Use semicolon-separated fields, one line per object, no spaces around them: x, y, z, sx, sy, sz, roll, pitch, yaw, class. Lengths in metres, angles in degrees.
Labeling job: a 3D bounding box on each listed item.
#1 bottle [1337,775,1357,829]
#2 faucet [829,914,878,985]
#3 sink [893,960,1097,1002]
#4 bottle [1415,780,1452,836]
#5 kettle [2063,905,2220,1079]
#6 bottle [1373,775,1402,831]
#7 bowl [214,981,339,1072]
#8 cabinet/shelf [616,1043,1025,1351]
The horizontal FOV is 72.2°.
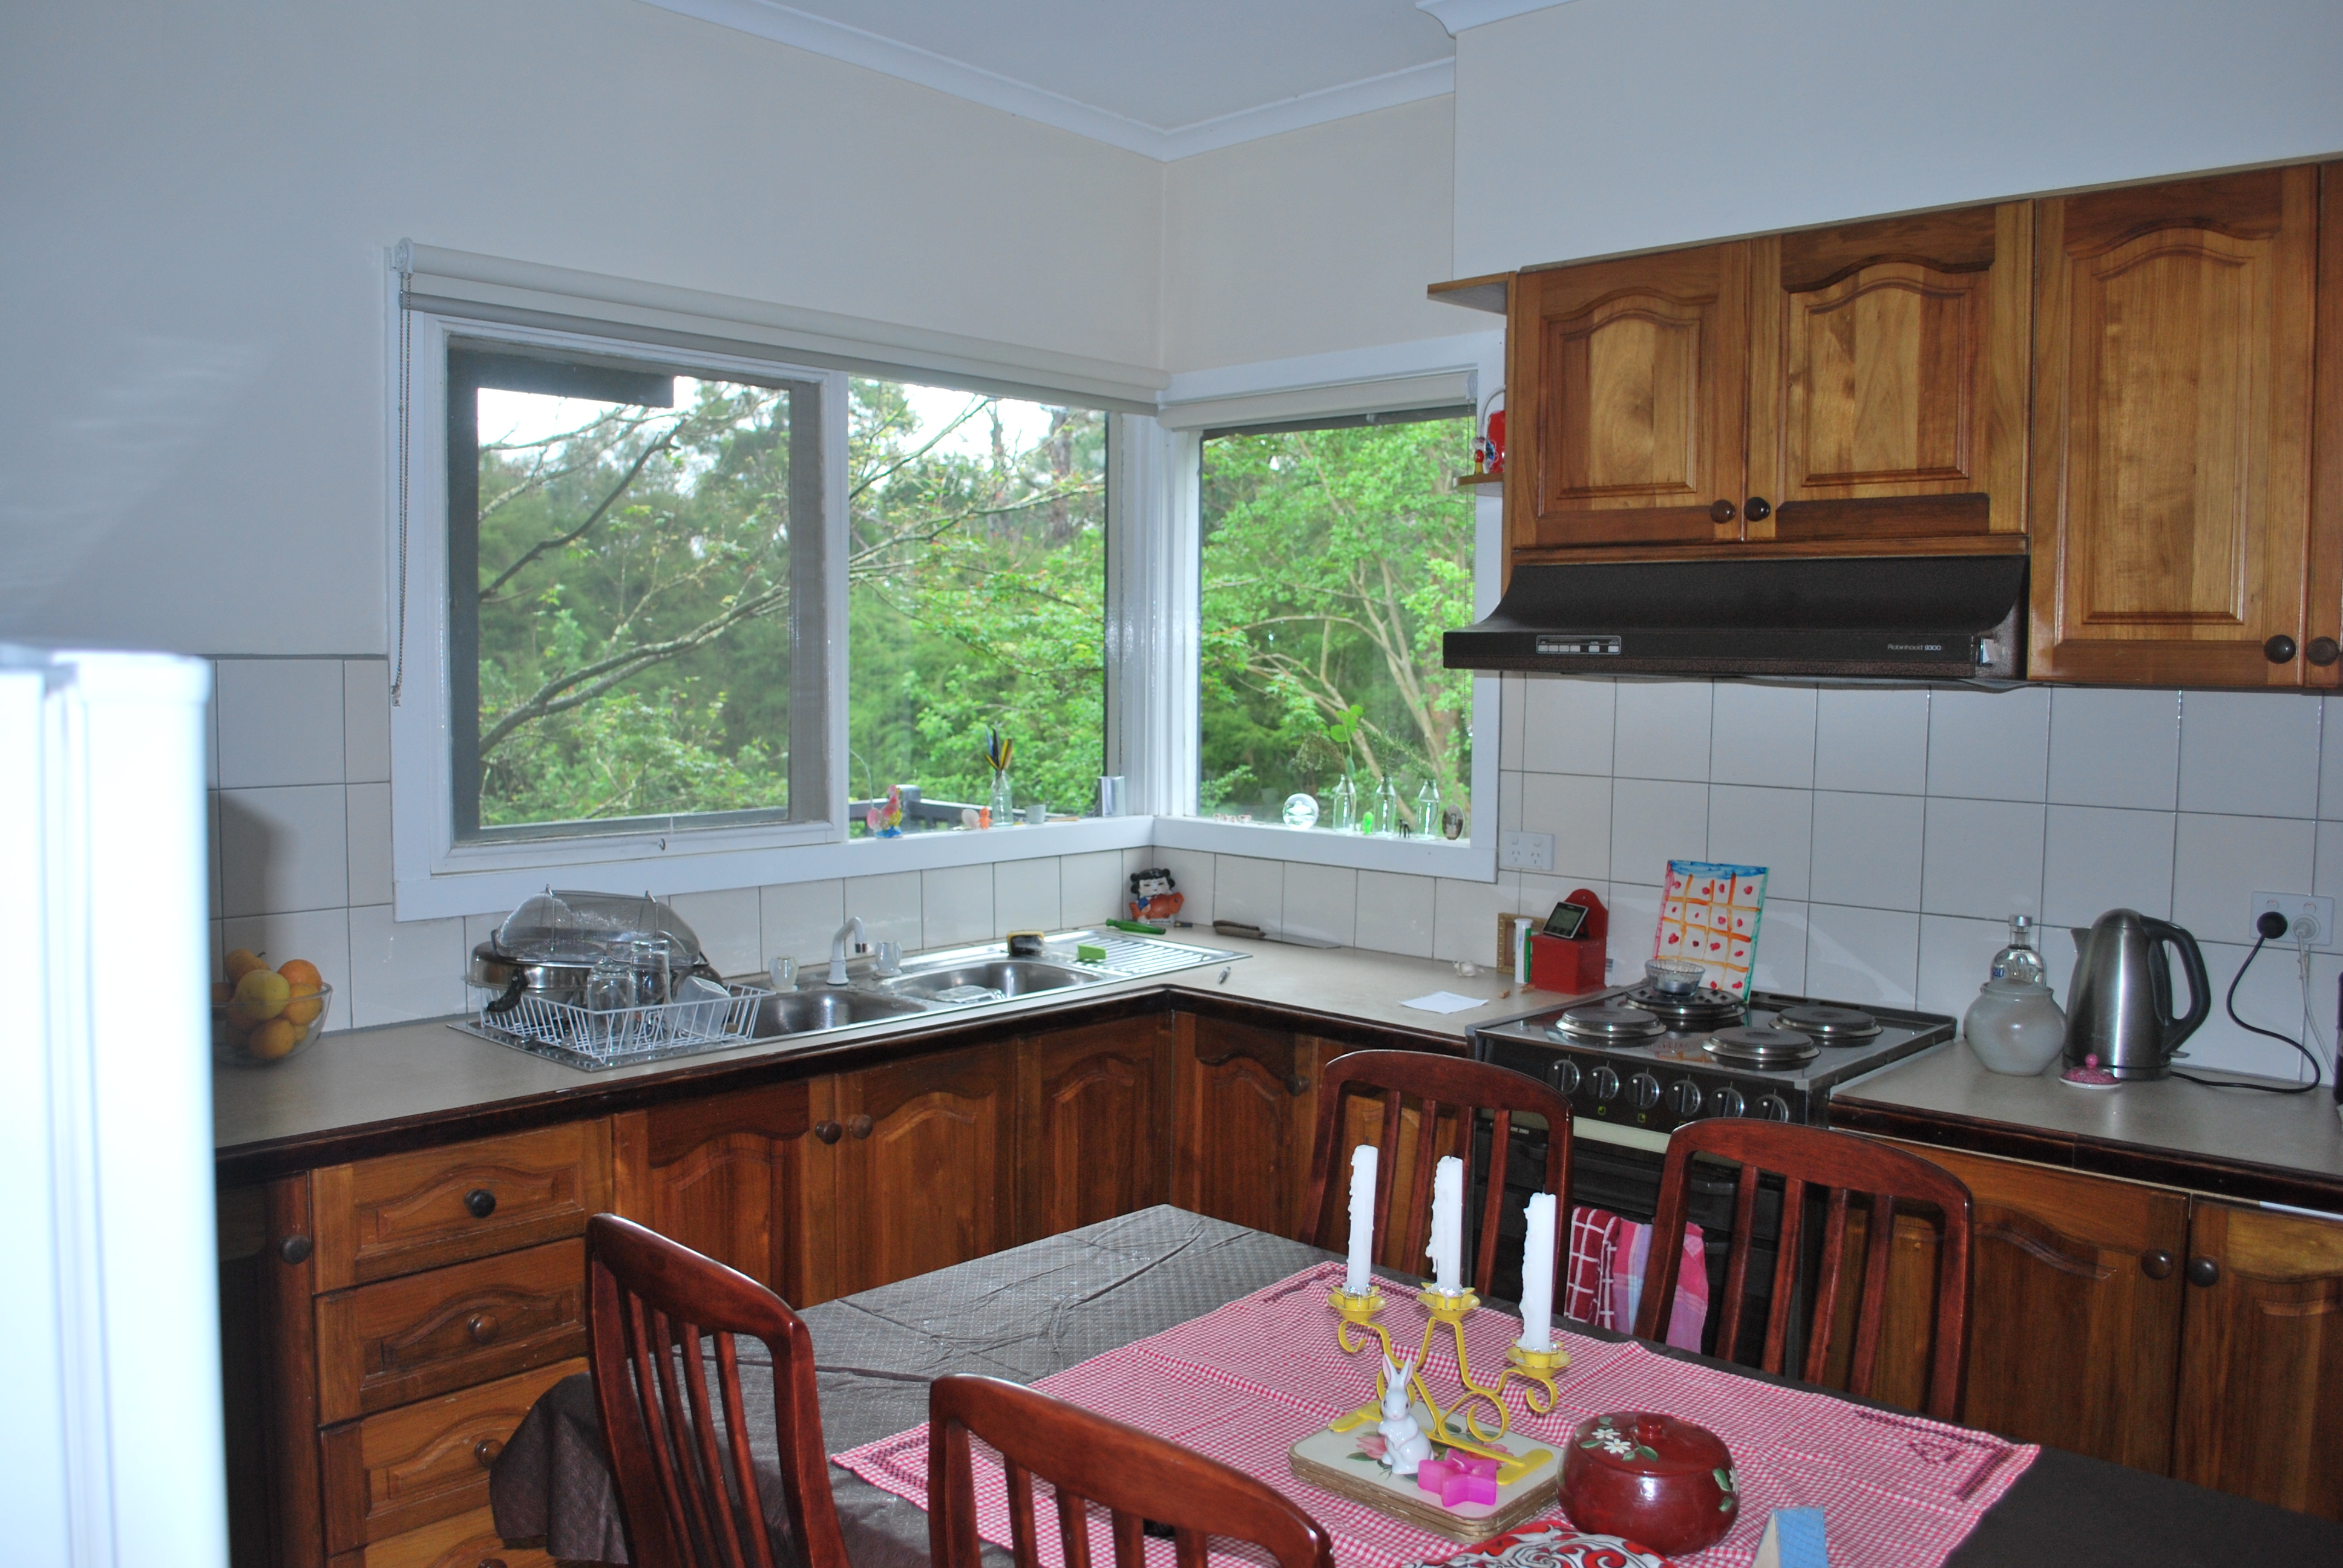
0.509;0.044;4.652;0.062;0.151;0.063;-1;2;0;bottle
-0.813;0.405;4.082;0.114;0.160;0.367;-1;2;-12;faucet
-0.480;0.515;4.208;0.235;0.089;0.183;-1;3;-43;sink
0.735;0.061;4.480;0.122;0.192;0.121;-1;-2;0;bottle
1.939;0.417;3.239;0.233;0.335;0.303;1;3;30;kettle
0.616;0.051;4.586;0.059;0.149;0.076;-1;2;-9;bottle
-1.815;0.486;3.221;0.164;0.100;0.163;0;0;0;bowl
-0.729;0.845;3.475;0.478;0.791;0.878;6;9;44;cabinet/shelf
